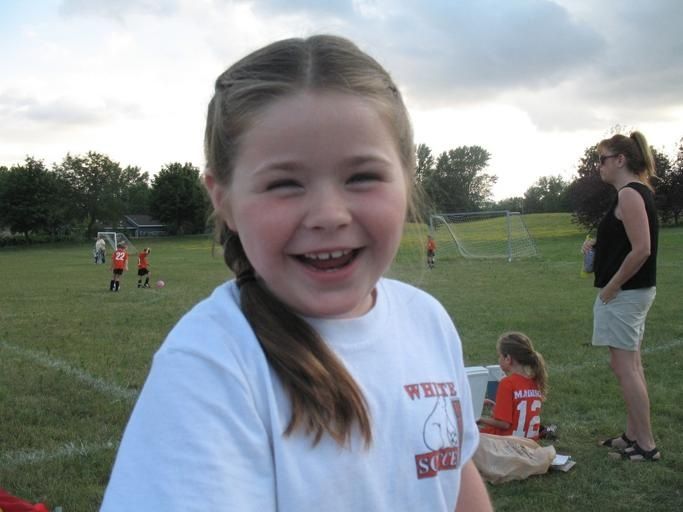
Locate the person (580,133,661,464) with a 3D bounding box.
[{"bbox_3d":[2.669,0.343,5.706,0.614,2.899,0.964,3,13,11],"label":"person"}]

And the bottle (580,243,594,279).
[{"bbox_3d":[2.494,0.068,6.184,0.088,0.289,0.193,2,-8,11],"label":"bottle"}]

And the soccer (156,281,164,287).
[{"bbox_3d":[-5.221,0.817,17.574,0.209,0.241,0.217,0,1,5],"label":"soccer"}]

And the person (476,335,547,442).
[{"bbox_3d":[1.686,1.277,6.111,0.632,1.086,0.813,-7,6,-35],"label":"person"}]

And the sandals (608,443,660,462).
[{"bbox_3d":[2.687,1.795,5.576,0.317,0.135,0.186,1,-8,12],"label":"sandals"}]
